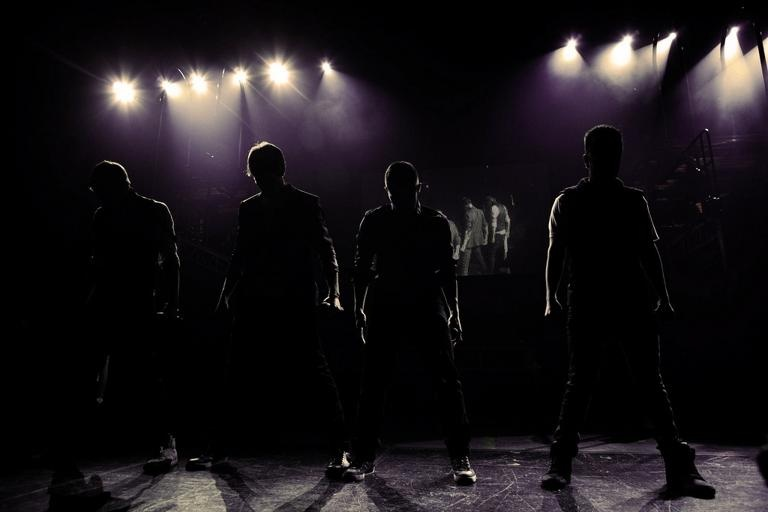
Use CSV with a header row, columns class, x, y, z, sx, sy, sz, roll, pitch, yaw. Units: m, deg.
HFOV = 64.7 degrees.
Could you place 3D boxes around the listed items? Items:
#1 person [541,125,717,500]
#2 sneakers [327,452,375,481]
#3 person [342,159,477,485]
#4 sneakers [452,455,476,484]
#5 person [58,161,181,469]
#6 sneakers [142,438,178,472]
class,x,y,z,sx,sy,sz,roll,pitch,yaw
person,2.409,0.491,6.152,1.412,3.644,0.811,0,6,13
sneakers,-0.339,2.204,6.393,0.520,0.234,0.267,-1,6,-6
person,0.278,0.655,6.448,1.293,3.304,0.742,0,6,7
sneakers,0.864,2.195,6.317,0.254,0.246,0.289,0,6,6
person,-2.792,0.647,6.567,1.101,3.315,0.631,-3,6,-19
sneakers,-2.435,2.185,6.711,0.237,0.253,0.393,-6,-4,10
